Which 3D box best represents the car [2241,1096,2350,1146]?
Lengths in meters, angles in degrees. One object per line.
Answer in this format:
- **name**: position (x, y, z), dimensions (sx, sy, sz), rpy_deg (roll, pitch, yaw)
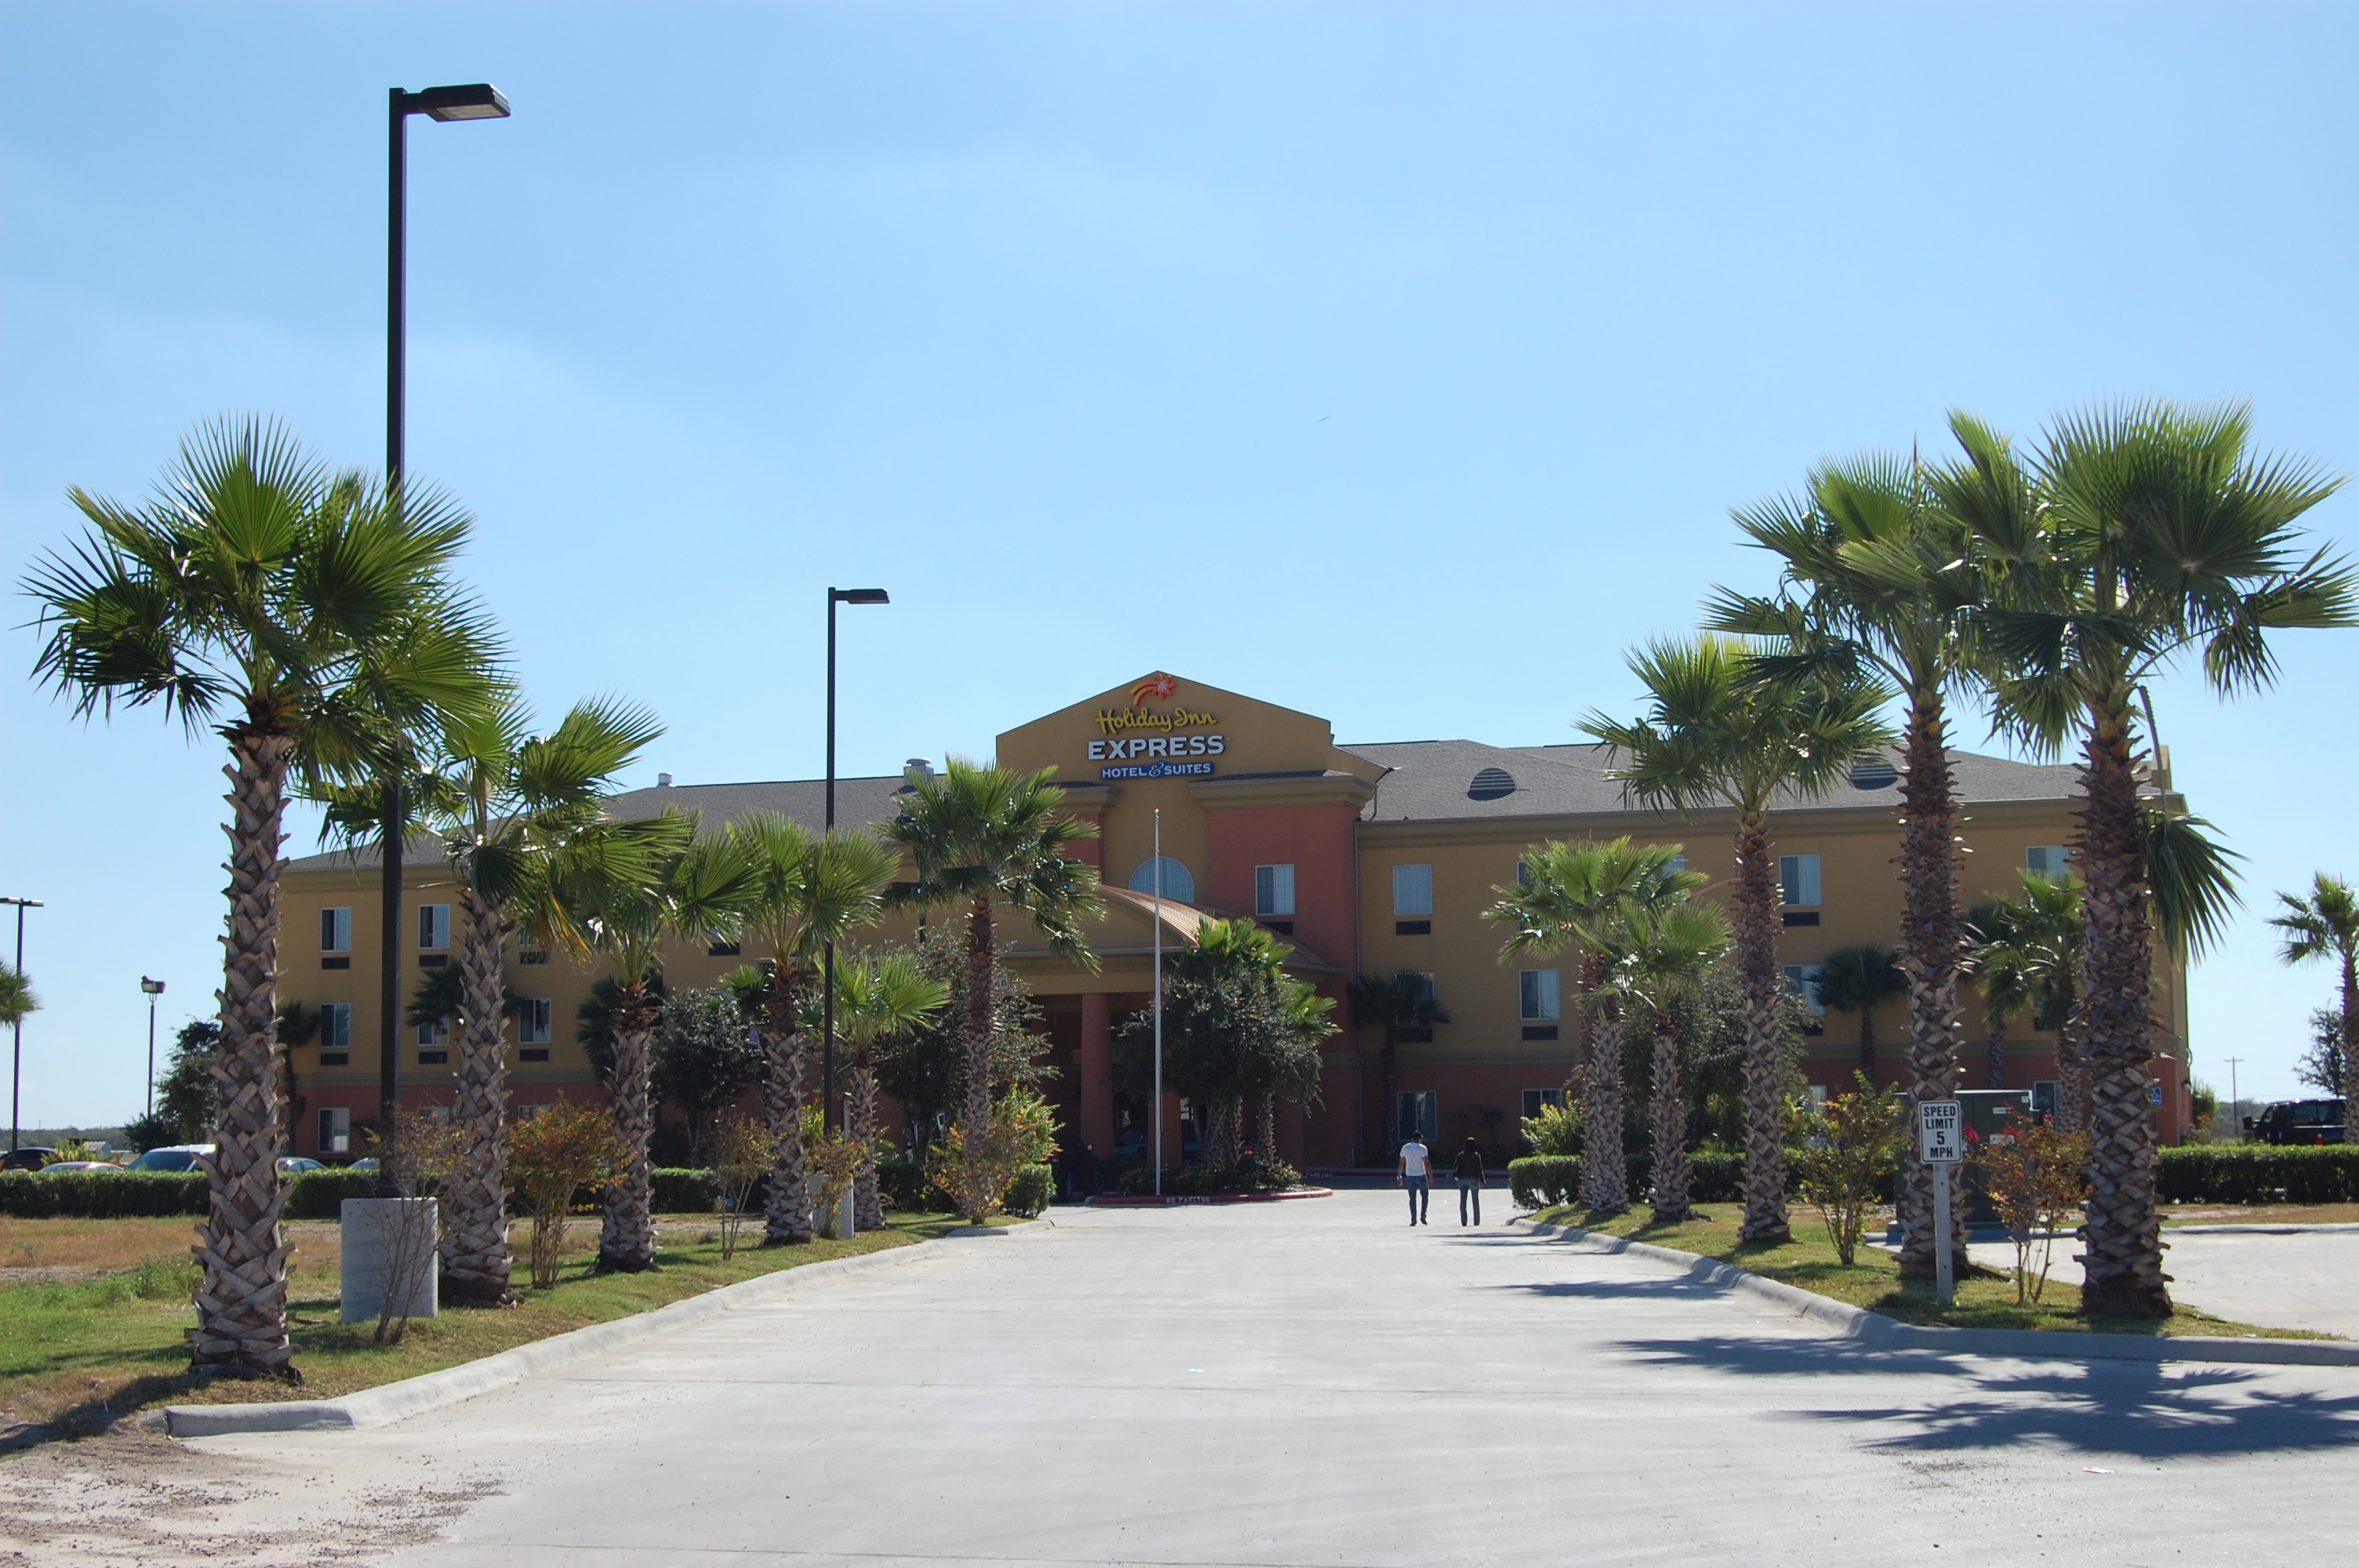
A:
- **car**: position (27.361, 8.206, 74.072), dimensions (1.351, 1.238, 6.693), rpy_deg (-3, -11, 13)
